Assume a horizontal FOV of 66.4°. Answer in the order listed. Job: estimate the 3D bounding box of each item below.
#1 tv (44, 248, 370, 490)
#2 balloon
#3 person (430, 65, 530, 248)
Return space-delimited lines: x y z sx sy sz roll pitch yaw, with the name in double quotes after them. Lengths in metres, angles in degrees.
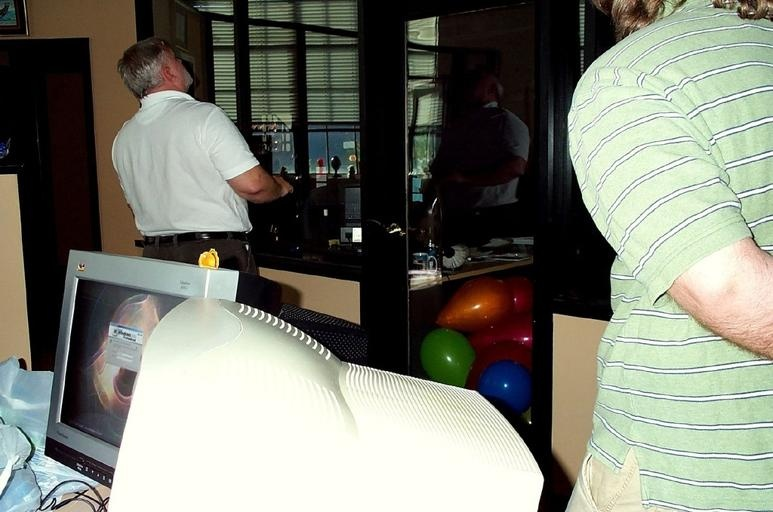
-0.415 0.246 1.415 0.506 0.449 0.592 3 1 43 "tv"
0.483 0.384 2.867 0.283 0.599 0.614 17 1 -43 "balloon"
0.467 -0.460 2.886 0.497 0.858 0.149 17 11 30 "person"
